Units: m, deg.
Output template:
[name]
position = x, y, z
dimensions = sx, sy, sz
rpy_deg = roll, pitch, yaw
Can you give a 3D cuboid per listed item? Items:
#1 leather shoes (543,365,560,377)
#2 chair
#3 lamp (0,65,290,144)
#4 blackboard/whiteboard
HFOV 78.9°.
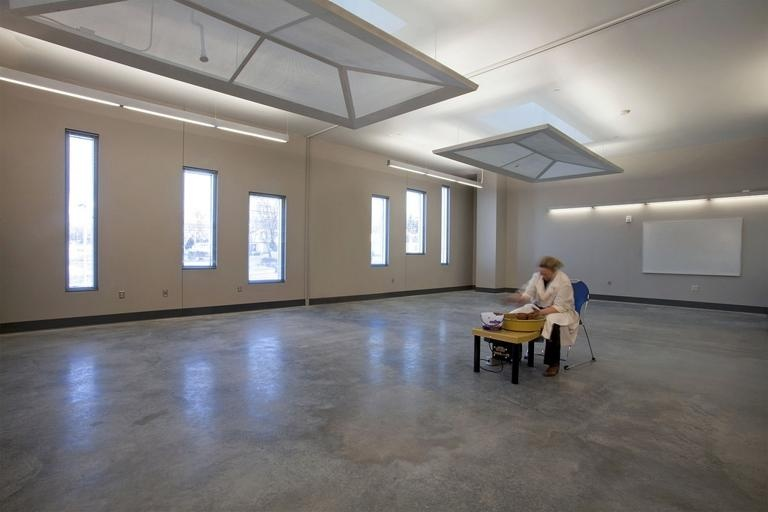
[leather shoes]
position = 2.737, 1.889, 7.620
dimensions = 0.117, 0.150, 0.353
rpy_deg = -9, -15, 41
[chair]
position = 3.641, 1.267, 8.965
dimensions = 0.944, 1.296, 0.938
rpy_deg = 4, -7, -1
[lamp]
position = -4.611, -3.087, 10.174
dimensions = 5.946, 0.757, 1.553
rpy_deg = -3, 6, -34
[blackboard/whiteboard]
position = 8.825, -0.260, 13.182
dimensions = 1.674, 1.182, 0.070
rpy_deg = 1, 0, 43
